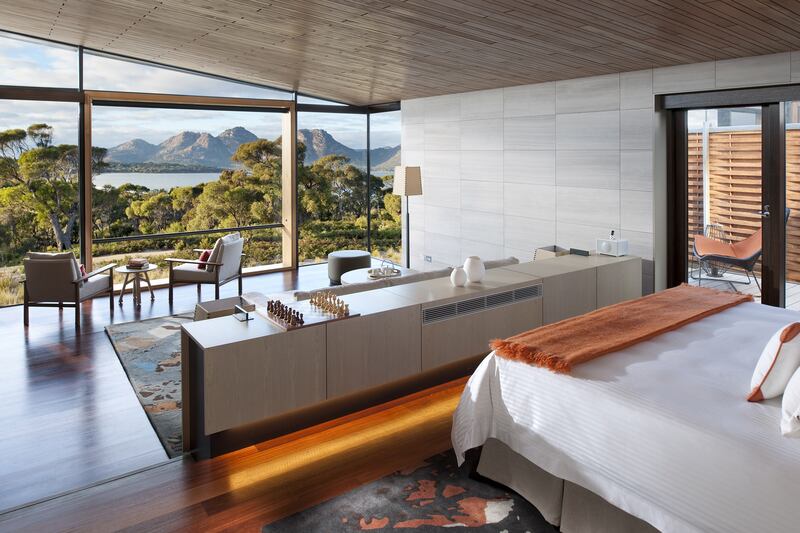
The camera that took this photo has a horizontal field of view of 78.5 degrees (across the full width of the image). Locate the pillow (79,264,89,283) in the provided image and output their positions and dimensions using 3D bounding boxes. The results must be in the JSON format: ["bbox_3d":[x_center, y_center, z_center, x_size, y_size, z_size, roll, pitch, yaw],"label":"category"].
[{"bbox_3d":[-4.620,0.109,7.217,0.086,0.271,0.271,-11,54,-41],"label":"pillow"}]

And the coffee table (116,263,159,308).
[{"bbox_3d":[-4.328,0.334,8.111,0.586,0.555,0.524,4,19,2],"label":"coffee table"}]

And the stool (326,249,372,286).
[{"bbox_3d":[-0.892,0.000,8.748,0.678,0.545,0.656,0,7,9],"label":"stool"}]

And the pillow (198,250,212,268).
[{"bbox_3d":[-3.180,-0.117,8.099,0.175,0.319,0.282,0,17,2],"label":"pillow"}]

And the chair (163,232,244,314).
[{"bbox_3d":[-3.075,0.055,7.919,1.152,1.062,0.766,-5,11,-18],"label":"chair"}]

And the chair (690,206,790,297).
[{"bbox_3d":[4.148,-0.160,6.080,0.885,0.752,0.850,-5,16,33],"label":"chair"}]
